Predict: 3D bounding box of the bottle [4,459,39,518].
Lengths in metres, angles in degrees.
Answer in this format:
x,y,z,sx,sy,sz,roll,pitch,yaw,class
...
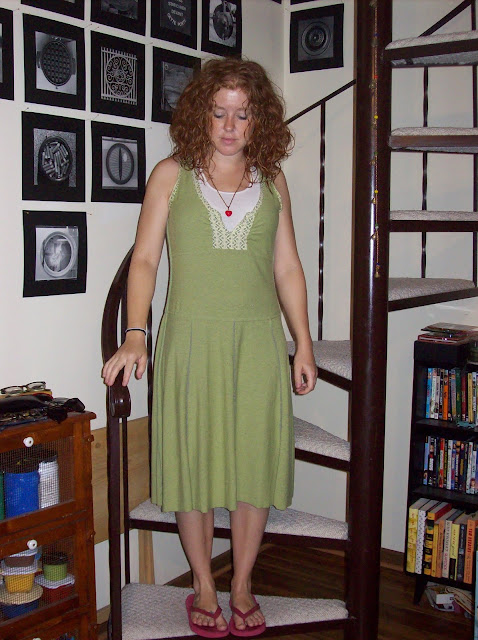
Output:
x,y,z,sx,sy,sz,roll,pitch,yaw,class
-0.531,0.409,1.343,0.012,0.132,0.099,0,2,31,bottle

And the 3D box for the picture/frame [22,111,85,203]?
x,y,z,sx,sy,sz,roll,pitch,yaw,class
-0.554,-0.484,1.620,0.013,0.313,0.262,9,13,33,picture/frame

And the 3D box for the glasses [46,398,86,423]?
x,y,z,sx,sy,sz,roll,pitch,yaw,class
-0.456,0.235,1.426,0.041,0.022,0.071,3,12,6,glasses

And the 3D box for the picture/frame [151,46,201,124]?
x,y,z,sx,sy,sz,roll,pitch,yaw,class
-0.230,-0.855,2.047,0.009,0.241,0.231,23,25,39,picture/frame

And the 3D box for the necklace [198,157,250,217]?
x,y,z,sx,sy,sz,roll,pitch,yaw,class
-0.027,-0.317,1.356,0.127,0.138,0.062,-3,2,-41,necklace

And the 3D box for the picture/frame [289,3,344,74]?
x,y,z,sx,sy,sz,roll,pitch,yaw,class
0.377,-1.339,2.607,0.281,0.294,0.028,26,22,35,picture/frame

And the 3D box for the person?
x,y,z,sx,sy,sz,roll,pitch,yaw,class
-0.078,0.083,1.400,0.593,1.462,0.264,-2,2,-30,person

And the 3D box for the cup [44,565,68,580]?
x,y,z,sx,sy,sz,roll,pitch,yaw,class
-0.487,0.671,1.462,0.049,0.039,0.050,1,-2,0,cup

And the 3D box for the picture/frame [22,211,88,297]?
x,y,z,sx,sy,sz,roll,pitch,yaw,class
-0.562,-0.202,1.654,0.031,0.249,0.231,7,12,31,picture/frame

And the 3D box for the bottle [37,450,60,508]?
x,y,z,sx,sy,sz,roll,pitch,yaw,class
-0.489,0.405,1.413,0.014,0.143,0.070,-1,2,19,bottle
